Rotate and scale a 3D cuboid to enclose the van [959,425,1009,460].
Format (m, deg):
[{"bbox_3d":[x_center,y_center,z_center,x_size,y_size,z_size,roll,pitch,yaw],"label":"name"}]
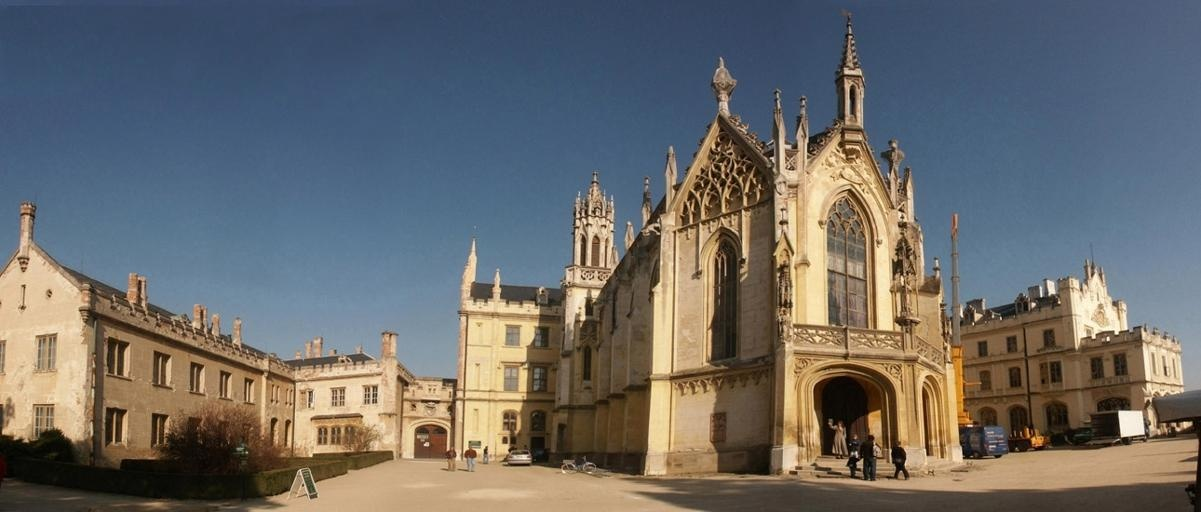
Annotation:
[{"bbox_3d":[42.174,20.490,114.180,4.835,3.240,2.431,-1,3,0],"label":"van"}]

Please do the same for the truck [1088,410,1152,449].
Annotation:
[{"bbox_3d":[58.428,19.262,116.554,5.474,4.029,2.301,-1,3,2],"label":"truck"}]
